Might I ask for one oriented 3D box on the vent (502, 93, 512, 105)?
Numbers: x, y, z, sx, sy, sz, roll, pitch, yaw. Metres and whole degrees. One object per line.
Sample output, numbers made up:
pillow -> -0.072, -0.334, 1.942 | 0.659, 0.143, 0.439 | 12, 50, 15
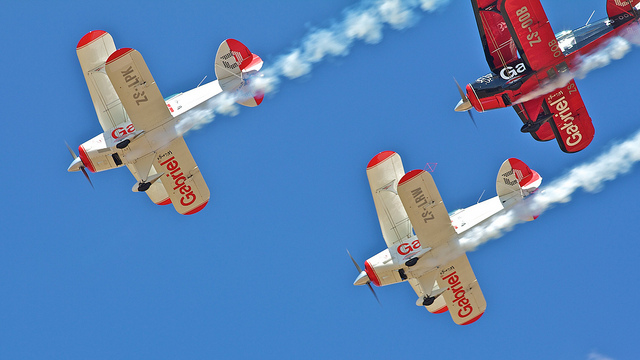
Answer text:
vent -> 6.630, -2.869, 29.426 | 0.160, 0.597, 0.161 | -22, -5, -3

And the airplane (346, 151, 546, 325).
airplane -> 4.312, 2.042, 29.641 | 6.778, 2.466, 7.185 | -21, -75, -3

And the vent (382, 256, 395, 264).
vent -> 2.471, 2.884, 29.893 | 0.550, 0.122, 0.080 | -29, -1, 2

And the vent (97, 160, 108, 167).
vent -> -8.112, -0.633, 30.820 | 0.258, 0.058, 0.165 | -15, -75, -1

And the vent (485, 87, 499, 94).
vent -> 6.149, -3.190, 29.467 | 0.672, 0.195, 0.069 | -6, -3, 6

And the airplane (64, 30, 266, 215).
airplane -> -6.968, -1.605, 33.082 | 7.215, 9.436, 6.252 | 16, -17, -35

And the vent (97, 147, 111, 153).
vent -> -8.004, -1.102, 30.562 | 0.281, 0.069, 0.228 | -1, -77, 1
